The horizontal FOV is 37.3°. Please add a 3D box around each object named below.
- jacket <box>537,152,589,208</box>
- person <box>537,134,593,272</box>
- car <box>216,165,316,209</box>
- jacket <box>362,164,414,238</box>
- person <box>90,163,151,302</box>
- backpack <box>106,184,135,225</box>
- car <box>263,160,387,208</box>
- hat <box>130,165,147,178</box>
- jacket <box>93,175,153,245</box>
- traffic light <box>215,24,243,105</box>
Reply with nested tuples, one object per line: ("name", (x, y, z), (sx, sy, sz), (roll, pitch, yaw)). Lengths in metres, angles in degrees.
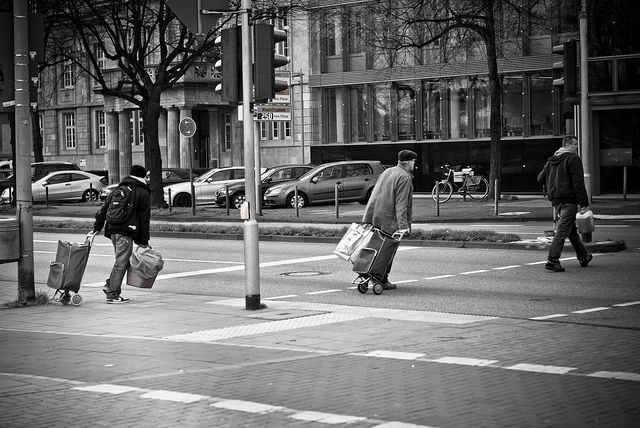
("jacket", (4.525, -0.662, 17.377), (0.766, 0.974, 0.387), (2, 7, 22))
("person", (4.506, -0.211, 17.357), (0.901, 2.406, 1.033), (1, 7, 12))
("car", (-1.914, -1.172, 34.933), (3.596, 1.118, 1.584), (-7, 3, -25))
("jacket", (1.140, -0.260, 15.655), (0.786, 1.126, 0.477), (1, 7, 15))
("person", (-3.148, 0.310, 15.160), (0.913, 2.167, 0.563), (-2, 7, -12))
("backpack", (-3.163, -0.114, 15.150), (0.405, 0.581, 0.359), (11, -15, 13))
("car", (0.182, -1.114, 34.580), (4.082, 1.371, 1.871), (0, 1, -10))
("hat", (-2.923, -0.710, 15.311), (0.248, 0.206, 0.180), (-11, 15, -15))
("jacket", (-3.152, -0.066, 15.227), (0.829, 1.135, 0.521), (-2, 6, -8))
("traffic light", (-1.308, -2.255, 14.150), (0.328, 1.196, 0.488), (-1, 6, -5))
